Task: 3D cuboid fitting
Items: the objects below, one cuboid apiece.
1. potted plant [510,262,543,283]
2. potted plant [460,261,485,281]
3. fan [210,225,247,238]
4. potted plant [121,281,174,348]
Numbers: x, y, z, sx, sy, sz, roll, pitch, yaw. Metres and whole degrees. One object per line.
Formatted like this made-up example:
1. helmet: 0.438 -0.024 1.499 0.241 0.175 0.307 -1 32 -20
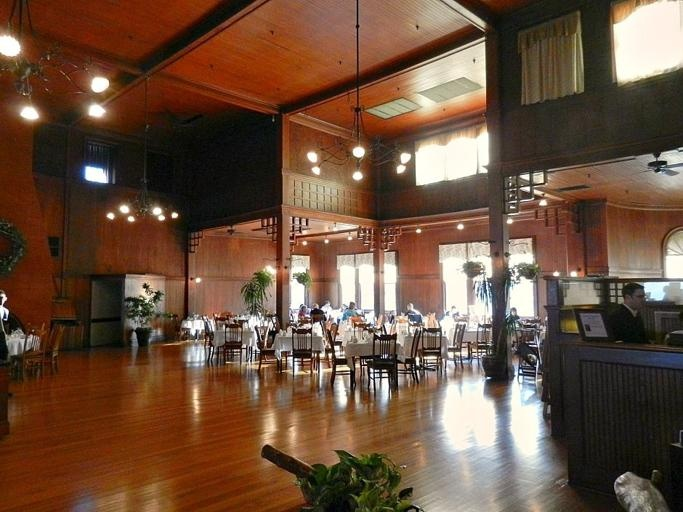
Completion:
1. potted plant: 3.409 0.289 9.848 0.734 0.358 0.303 -1 1 -40
2. potted plant: 2.638 0.266 10.424 0.309 0.324 0.321 0 -4 -2
3. fan: -3.529 -0.781 16.876 1.316 0.300 2.641 -1 0 -11
4. potted plant: -5.437 1.584 14.815 0.598 1.721 1.216 0 1 18
